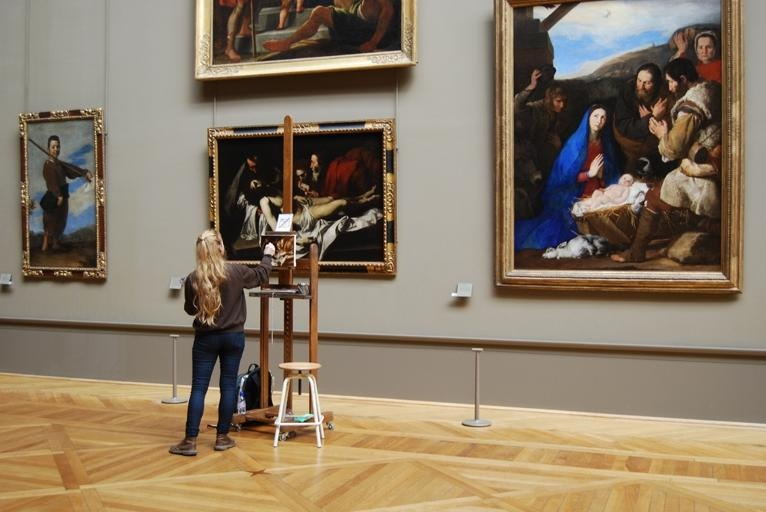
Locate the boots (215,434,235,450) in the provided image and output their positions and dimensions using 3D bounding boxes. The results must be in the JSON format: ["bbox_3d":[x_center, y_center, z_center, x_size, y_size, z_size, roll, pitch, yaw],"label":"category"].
[{"bbox_3d":[-2.095,2.484,9.628,0.129,0.218,0.316,1,3,24],"label":"boots"}]

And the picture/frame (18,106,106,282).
[{"bbox_3d":[-5.734,-1.092,13.091,1.761,3.065,0.358,2,7,13],"label":"picture/frame"}]

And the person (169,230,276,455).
[{"bbox_3d":[-2.161,1.115,9.639,1.343,2.885,0.501,-5,9,-37],"label":"person"}]
